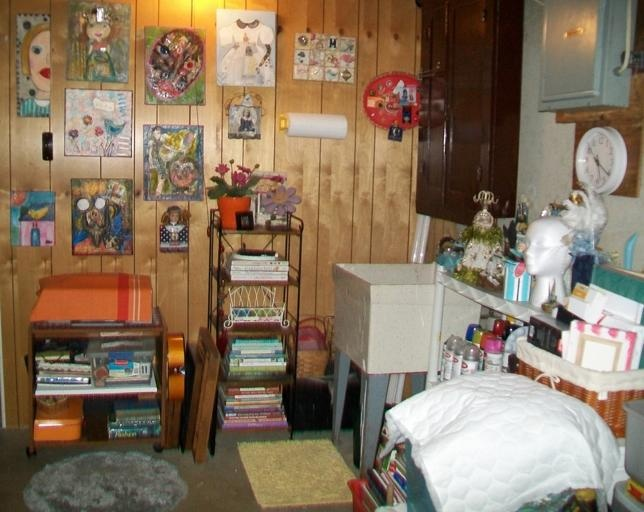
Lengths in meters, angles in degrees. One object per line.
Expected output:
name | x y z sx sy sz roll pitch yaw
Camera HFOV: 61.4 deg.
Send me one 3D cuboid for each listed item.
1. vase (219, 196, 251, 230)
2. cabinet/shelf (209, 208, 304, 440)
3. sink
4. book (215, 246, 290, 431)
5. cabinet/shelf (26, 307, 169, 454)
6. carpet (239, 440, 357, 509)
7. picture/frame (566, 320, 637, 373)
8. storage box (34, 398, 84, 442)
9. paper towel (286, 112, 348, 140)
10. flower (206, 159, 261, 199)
vase | -0.543 -0.269 3.349 0.181 0.186 0.181 1 5 14
cabinet/shelf | -0.415 0.409 3.390 0.482 1.389 0.353 1 14 -9
sink | 0.388 0.219 2.980 0.619 0.434 0.654 -2 7 -20
book | -0.428 0.495 3.502 0.483 1.125 0.540 1 10 -7
cabinet/shelf | -1.140 0.541 3.191 0.815 0.885 0.705 1 14 -6
carpet | -0.141 1.177 3.003 0.579 0.029 0.734 -1 13 -18
picture/frame | 0.858 0.255 1.670 0.145 0.161 0.041 5 6 30
storage box | -1.465 0.882 3.011 0.262 0.178 0.295 5 7 -17
paper towel | -0.042 -0.849 3.523 0.390 0.151 0.095 1 10 -6
flower | -0.544 -0.485 3.399 0.332 0.240 0.371 0 12 -12
